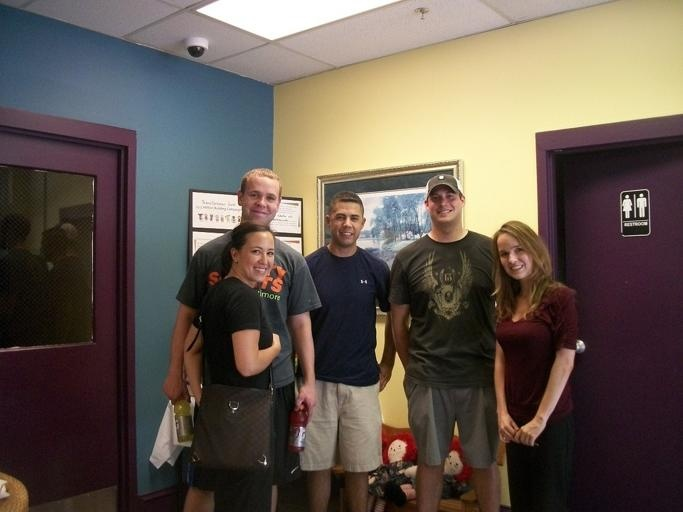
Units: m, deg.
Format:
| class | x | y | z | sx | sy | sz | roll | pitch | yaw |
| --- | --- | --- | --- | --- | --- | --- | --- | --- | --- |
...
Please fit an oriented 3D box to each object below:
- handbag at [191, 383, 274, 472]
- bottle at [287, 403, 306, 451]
| class | x | y | z | sx | sy | sz | roll | pitch | yaw |
| --- | --- | --- | --- | --- | --- | --- | --- | --- | --- |
| handbag | -0.478 | 0.760 | 2.278 | 0.376 | 0.374 | 0.183 | 2 | -11 | 4 |
| bottle | -0.213 | 0.878 | 2.629 | 0.078 | 0.233 | 0.147 | 2 | 3 | 30 |
